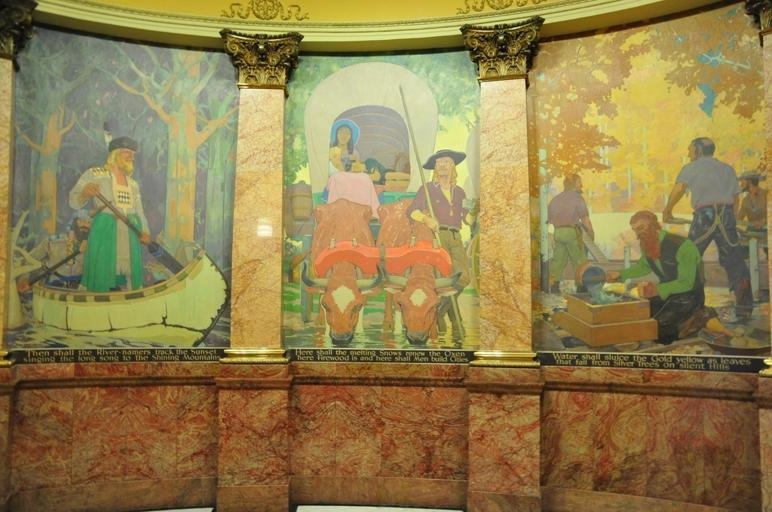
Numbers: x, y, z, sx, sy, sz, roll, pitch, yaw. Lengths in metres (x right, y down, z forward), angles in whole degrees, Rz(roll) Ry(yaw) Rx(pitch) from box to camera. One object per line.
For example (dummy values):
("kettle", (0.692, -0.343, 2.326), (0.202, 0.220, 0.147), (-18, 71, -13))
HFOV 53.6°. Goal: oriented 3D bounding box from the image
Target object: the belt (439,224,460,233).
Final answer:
("belt", (0.911, -0.396, 10.895), (0.290, 0.078, 0.007), (0, -5, 5))
